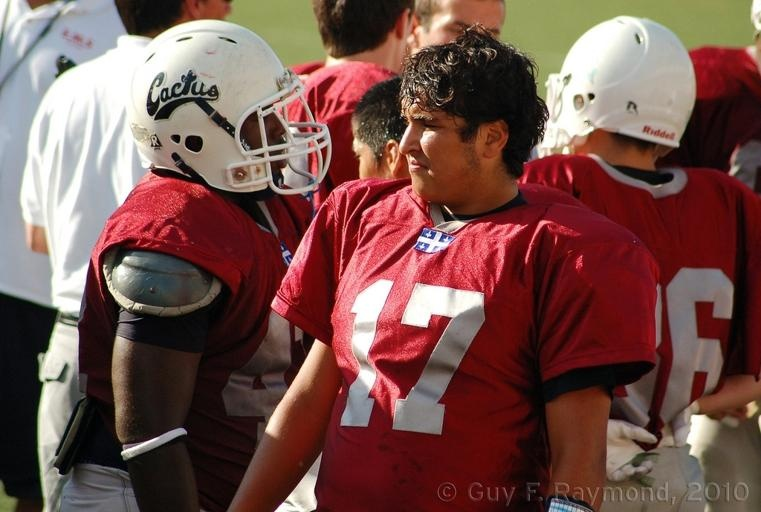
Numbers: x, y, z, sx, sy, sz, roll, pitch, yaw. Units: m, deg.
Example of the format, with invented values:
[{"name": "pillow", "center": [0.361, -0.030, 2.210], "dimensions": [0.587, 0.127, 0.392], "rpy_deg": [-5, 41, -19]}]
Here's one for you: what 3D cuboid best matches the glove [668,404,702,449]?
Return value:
[{"name": "glove", "center": [1.247, 0.715, 4.055], "dimensions": [0.060, 0.263, 0.075], "rpy_deg": [39, -57, 0]}]
